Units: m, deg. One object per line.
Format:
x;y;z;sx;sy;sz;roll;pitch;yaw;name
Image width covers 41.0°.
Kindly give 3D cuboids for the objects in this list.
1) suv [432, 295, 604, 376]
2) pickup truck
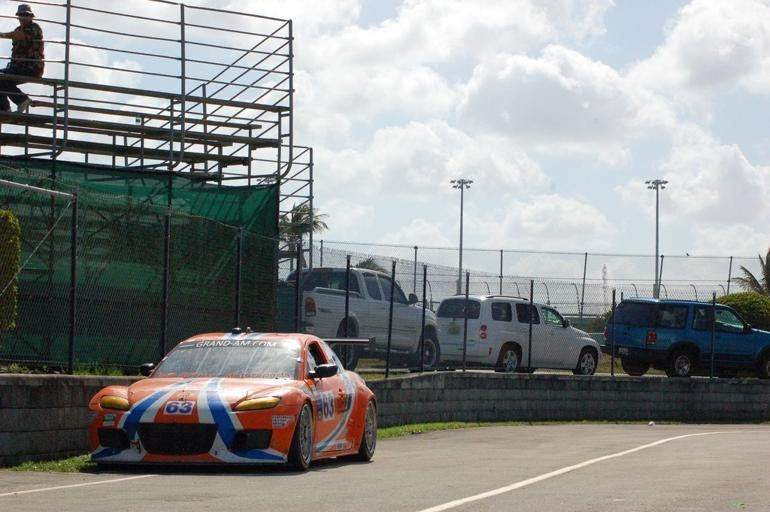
3.751;2.316;29.692;6.384;2.145;2.155;9;-12;-43;suv
-0.815;1.455;25.911;5.842;3.047;2.850;0;-1;41;pickup truck
